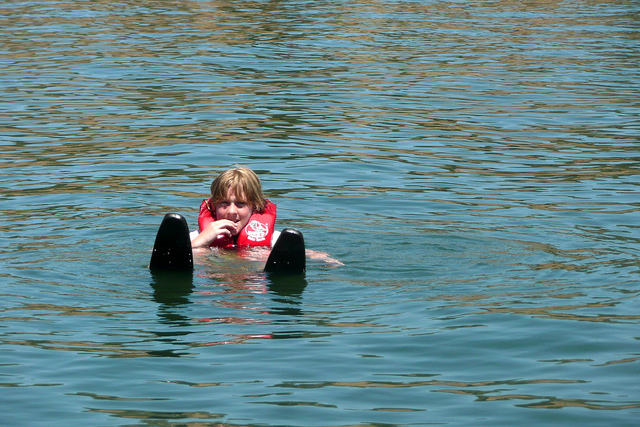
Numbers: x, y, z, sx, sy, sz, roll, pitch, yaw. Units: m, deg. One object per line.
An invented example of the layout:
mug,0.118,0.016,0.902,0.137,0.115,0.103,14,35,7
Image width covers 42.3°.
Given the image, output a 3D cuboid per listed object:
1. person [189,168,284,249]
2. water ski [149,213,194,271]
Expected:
person,-0.929,-0.056,9.646,1.387,0.957,0.375,7,27,-7
water ski,-1.635,0.309,8.939,0.505,0.663,0.204,2,26,1
